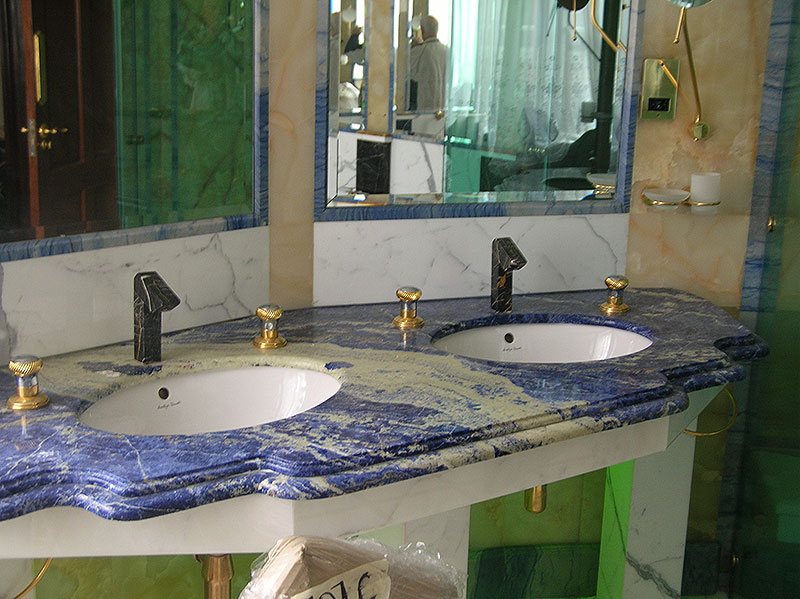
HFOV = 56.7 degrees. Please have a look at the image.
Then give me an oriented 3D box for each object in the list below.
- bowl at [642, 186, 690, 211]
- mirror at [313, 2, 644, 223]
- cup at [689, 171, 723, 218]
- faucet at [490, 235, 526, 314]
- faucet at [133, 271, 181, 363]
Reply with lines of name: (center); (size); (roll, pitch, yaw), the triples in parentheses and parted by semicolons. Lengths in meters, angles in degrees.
bowl: (0.791, -0.307, 2.207); (0.132, 0.065, 0.073); (-1, 5, -12)
mirror: (0.241, -0.536, 2.047); (0.962, 0.637, 0.072); (-2, 6, -18)
cup: (0.913, -0.318, 2.216); (0.098, 0.108, 0.098); (-2, 11, 0)
faucet: (0.283, -0.069, 1.954); (0.080, 0.196, 0.202); (1, 5, 7)
faucet: (-0.514, 0.035, 1.552); (0.075, 0.189, 0.134); (-4, 7, -30)
